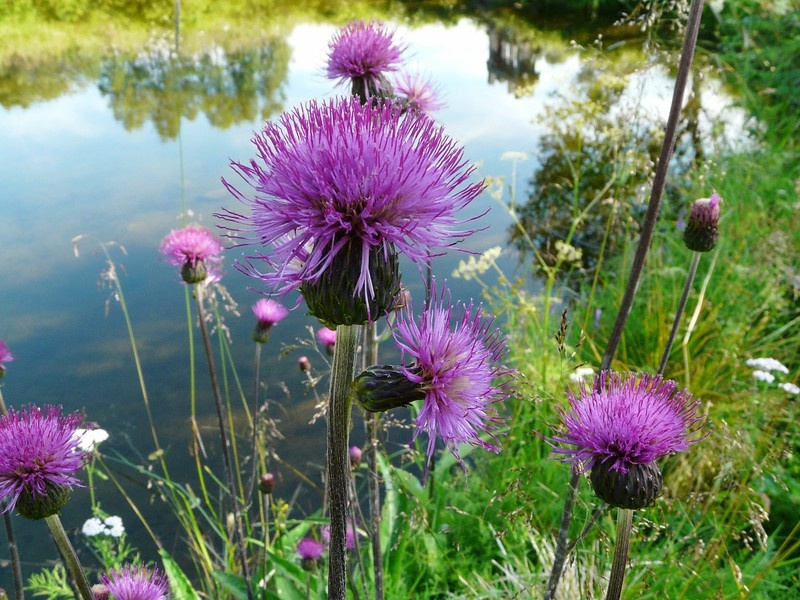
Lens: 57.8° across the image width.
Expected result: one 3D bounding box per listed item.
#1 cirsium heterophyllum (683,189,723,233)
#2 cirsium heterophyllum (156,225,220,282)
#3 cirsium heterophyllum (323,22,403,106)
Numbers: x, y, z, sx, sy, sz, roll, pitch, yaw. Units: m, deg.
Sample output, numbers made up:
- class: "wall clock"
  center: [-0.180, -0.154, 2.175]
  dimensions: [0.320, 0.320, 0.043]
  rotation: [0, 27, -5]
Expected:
- class: "cirsium heterophyllum"
  center: [1.953, -0.585, 4.683]
  dimensions: [0.193, 0.225, 0.203]
  rotation: [-2, 1, -1]
- class: "cirsium heterophyllum"
  center: [-1.384, -0.336, 4.905]
  dimensions: [0.354, 0.445, 0.379]
  rotation: [0, 0, 28]
- class: "cirsium heterophyllum"
  center: [-0.219, -1.553, 4.726]
  dimensions: [0.454, 0.509, 0.362]
  rotation: [17, 17, 38]
